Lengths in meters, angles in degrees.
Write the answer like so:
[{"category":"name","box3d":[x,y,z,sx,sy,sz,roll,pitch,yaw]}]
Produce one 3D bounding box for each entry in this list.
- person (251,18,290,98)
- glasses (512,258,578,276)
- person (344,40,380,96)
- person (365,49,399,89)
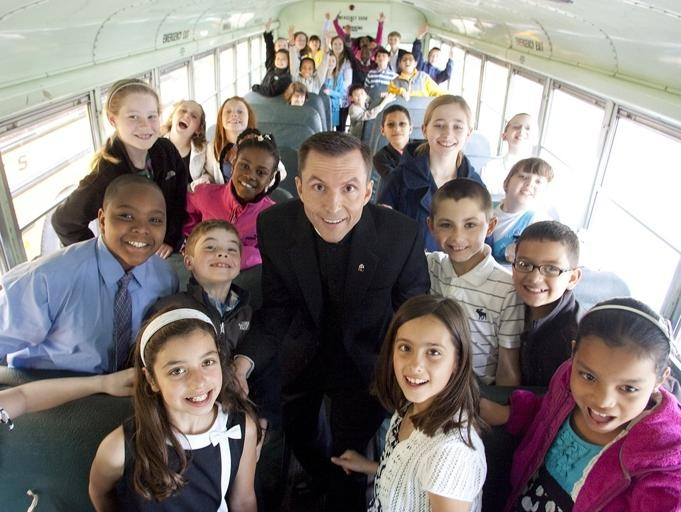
[{"category":"person","box3d":[-1.067,-3.322,8.848,0.841,1.266,0.394,22,39,6]},{"category":"glasses","box3d":[1.194,0.065,3.012,0.344,0.079,0.113,5,17,15]},{"category":"person","box3d":[0.498,-4.232,11.119,0.776,0.364,1.632,3,-28,-4]},{"category":"person","box3d":[0.798,-3.497,9.711,0.776,0.761,0.289,4,10,16]}]
